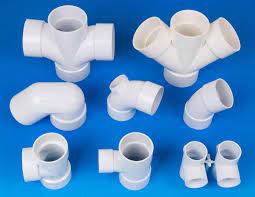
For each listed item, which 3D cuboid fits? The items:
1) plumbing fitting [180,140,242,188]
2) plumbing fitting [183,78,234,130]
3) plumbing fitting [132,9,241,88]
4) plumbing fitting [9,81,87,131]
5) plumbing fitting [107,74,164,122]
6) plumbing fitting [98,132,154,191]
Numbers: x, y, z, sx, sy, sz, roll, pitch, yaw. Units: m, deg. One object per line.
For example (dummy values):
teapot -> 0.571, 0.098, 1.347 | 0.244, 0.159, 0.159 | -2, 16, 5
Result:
plumbing fitting -> 0.488, 0.404, 1.694 | 0.375, 0.286, 0.284 | 1, 51, 1
plumbing fitting -> 0.538, 0.032, 1.840 | 0.302, 0.407, 0.286 | 6, 25, 12
plumbing fitting -> 0.421, -0.348, 1.984 | 0.726, 0.579, 0.266 | 3, 56, 5
plumbing fitting -> -0.506, 0.042, 1.853 | 0.476, 0.296, 0.266 | 5, 52, -3
plumbing fitting -> 0.023, 0.020, 1.819 | 0.396, 0.315, 0.225 | 20, 48, 14
plumbing fitting -> -0.009, 0.380, 1.604 | 0.314, 0.385, 0.266 | 6, 25, 12
